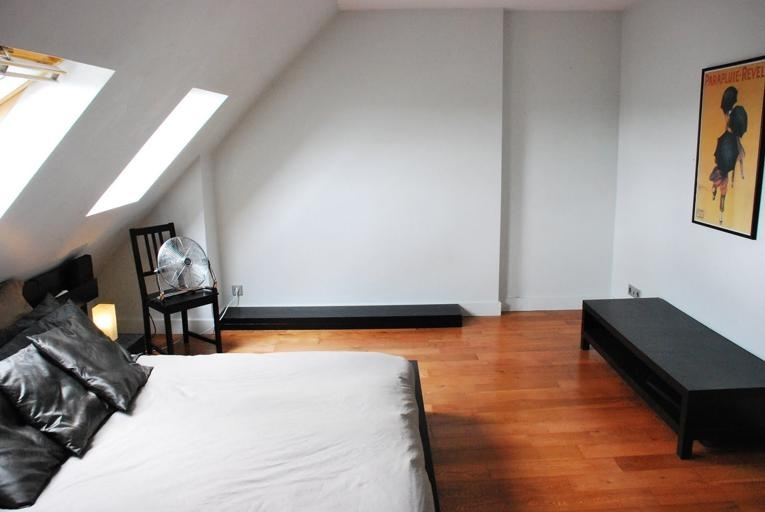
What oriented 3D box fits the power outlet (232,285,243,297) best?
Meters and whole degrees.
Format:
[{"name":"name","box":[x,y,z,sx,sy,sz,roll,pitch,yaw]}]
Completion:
[{"name":"power outlet","box":[-1.552,0.367,5.663,0.105,0.113,0.105,-1,7,-4]}]

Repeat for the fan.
[{"name":"fan","box":[-1.807,0.122,4.797,0.484,0.511,0.282,-12,28,-39]}]
